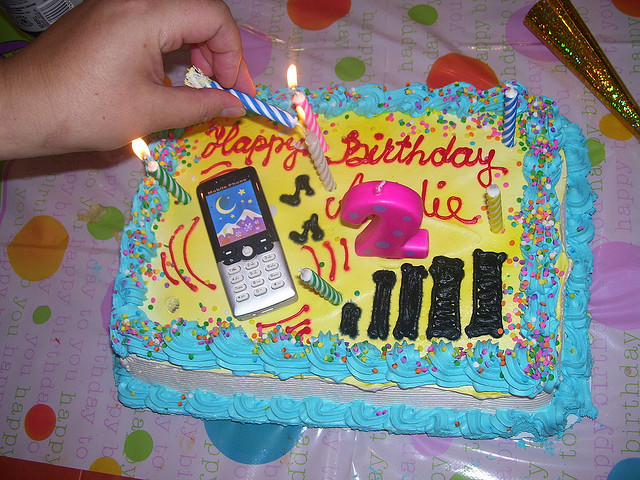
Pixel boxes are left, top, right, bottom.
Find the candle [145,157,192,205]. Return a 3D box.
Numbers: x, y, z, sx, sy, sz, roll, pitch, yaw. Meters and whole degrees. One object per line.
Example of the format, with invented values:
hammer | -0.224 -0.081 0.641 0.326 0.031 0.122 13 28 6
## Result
candle | -1.512 -0.571 6.141 0.193 0.910 0.193 17 77 28
